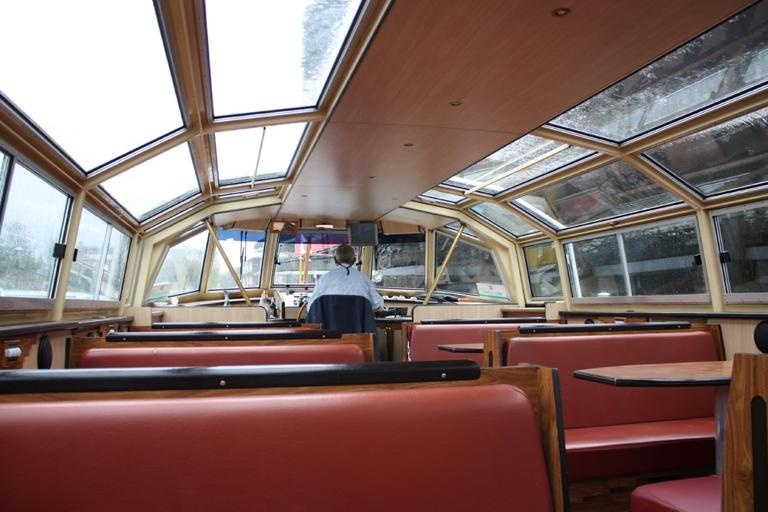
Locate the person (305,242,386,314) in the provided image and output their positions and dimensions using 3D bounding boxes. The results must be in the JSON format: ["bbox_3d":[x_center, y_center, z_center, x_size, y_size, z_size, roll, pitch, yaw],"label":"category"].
[{"bbox_3d":[-0.392,0.260,5.479,1.155,0.780,0.596,2,6,26],"label":"person"}]
